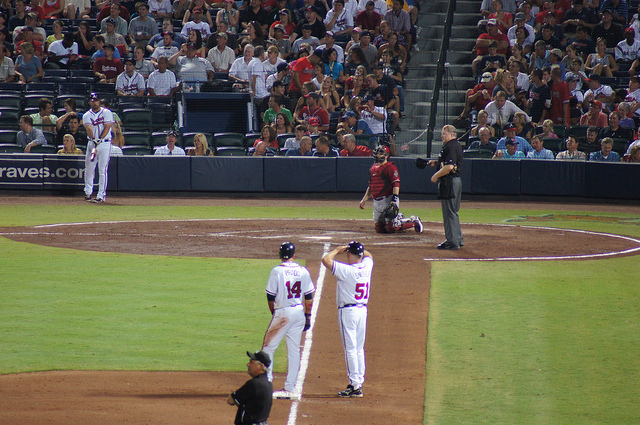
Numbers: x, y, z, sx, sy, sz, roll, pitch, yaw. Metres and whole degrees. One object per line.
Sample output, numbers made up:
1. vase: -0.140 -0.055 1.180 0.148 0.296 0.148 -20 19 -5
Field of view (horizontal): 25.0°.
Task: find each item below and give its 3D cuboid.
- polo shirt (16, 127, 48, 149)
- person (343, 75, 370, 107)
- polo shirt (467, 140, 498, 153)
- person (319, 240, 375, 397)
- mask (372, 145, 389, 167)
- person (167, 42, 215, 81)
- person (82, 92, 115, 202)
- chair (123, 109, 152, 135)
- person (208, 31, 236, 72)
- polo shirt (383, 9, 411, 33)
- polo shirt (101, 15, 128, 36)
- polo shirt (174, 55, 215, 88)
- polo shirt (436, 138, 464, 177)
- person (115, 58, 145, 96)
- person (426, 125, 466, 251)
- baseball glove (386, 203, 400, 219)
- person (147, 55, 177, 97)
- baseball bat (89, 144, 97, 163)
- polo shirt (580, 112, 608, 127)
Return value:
1. polo shirt: -8.904 -2.340 44.583 0.984 0.720 0.569 -2 2 4
2. person: 1.107 -3.851 45.337 0.485 1.009 0.952 -2 6 -38
3. polo shirt: 5.069 -2.080 44.797 0.440 0.488 0.585 7 -13 38
4. person: 0.661 2.336 31.684 0.897 3.375 0.656 1 5 2
5. mask: 1.603 -1.550 39.280 0.468 0.534 0.592 0 0 32
6. person: -4.181 -4.849 46.412 1.721 1.333 0.855 0 0 -1
7. person: -6.484 -1.905 42.299 0.847 3.191 1.160 1 5 -9
8. chair: -5.741 -2.975 45.623 0.964 1.046 0.818 0 26 -7
9. person: -3.180 -5.215 46.967 0.955 1.341 0.876 1 4 5
10. polo shirt: 2.588 -6.359 47.827 1.374 0.954 0.722 1 5 7
11. polo shirt: -6.789 -6.298 48.521 1.117 0.960 0.560 0 2 -9
12. polo shirt: -4.040 -4.496 46.060 1.265 1.014 0.639 0 -11 -6
13. polo shirt: 3.401 -1.445 37.826 0.756 1.004 1.253 3 -4 7
14. person: -6.050 -4.303 45.932 1.057 1.263 0.876 -2 11 -19
15. person: 3.382 -0.645 37.535 0.900 3.272 1.276 2 5 5
16. baseball glove: 1.954 -0.043 38.847 0.297 0.362 0.389 5 4 -13
17. person: -5.039 -4.305 45.958 1.034 1.320 0.915 -2 7 -27
18. baseball bat: -6.608 -1.755 42.262 0.153 0.526 0.156 21 0 30
19. polo shirt: 8.524 -3.020 44.861 0.819 0.668 0.429 1 6 24
